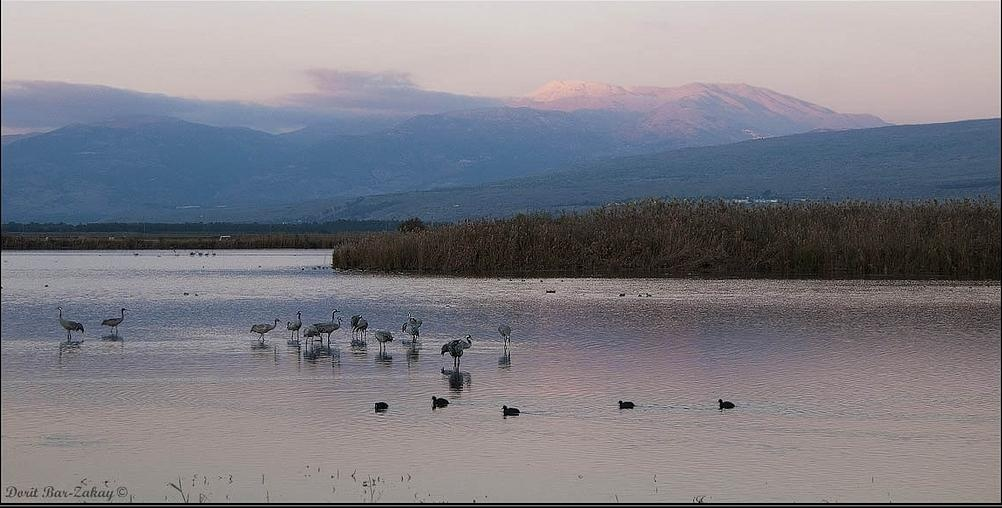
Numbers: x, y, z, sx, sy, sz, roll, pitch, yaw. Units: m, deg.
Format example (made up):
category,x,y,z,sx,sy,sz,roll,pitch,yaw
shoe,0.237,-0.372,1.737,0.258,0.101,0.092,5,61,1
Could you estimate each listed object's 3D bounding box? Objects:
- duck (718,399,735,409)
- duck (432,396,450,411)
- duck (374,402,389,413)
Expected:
category,x,y,z,sx,sy,sz,roll,pitch,yaw
duck,9.463,6.327,57.274,0.701,0.257,0.629,0,10,5
duck,-2.586,6.276,57.348,0.450,0.380,0.752,-6,2,23
duck,-5.036,6.455,57.086,0.540,0.402,0.185,1,-28,-3
